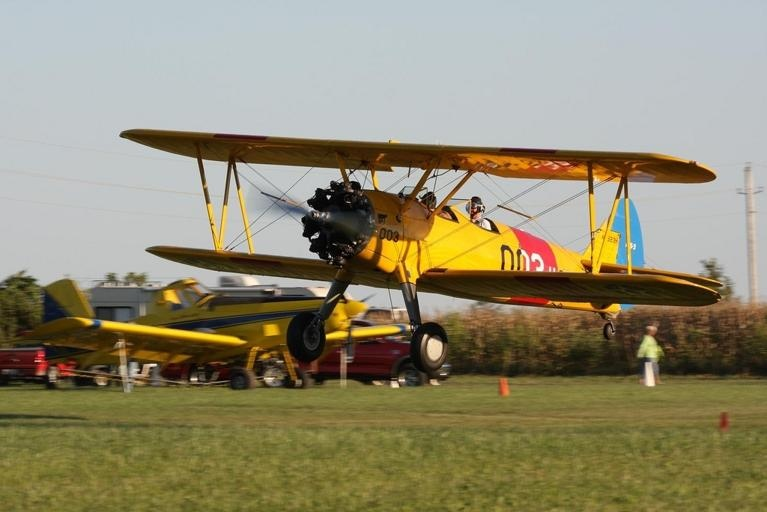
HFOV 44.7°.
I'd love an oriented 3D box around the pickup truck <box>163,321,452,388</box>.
[{"bbox_3d":[-1.358,2.256,19.760,3.359,0.668,3.522,-1,-3,34],"label":"pickup truck"}]
